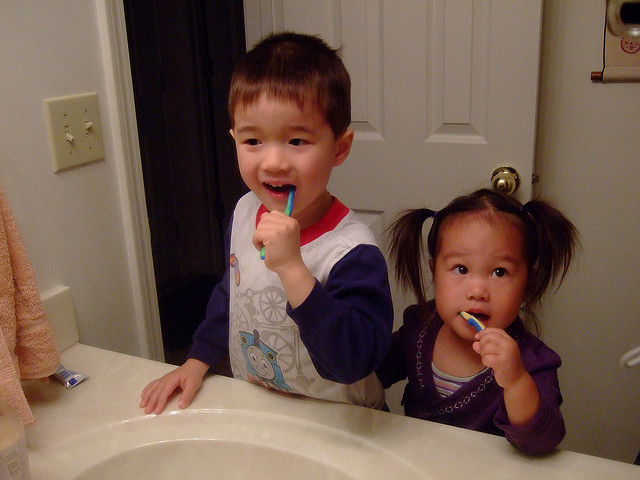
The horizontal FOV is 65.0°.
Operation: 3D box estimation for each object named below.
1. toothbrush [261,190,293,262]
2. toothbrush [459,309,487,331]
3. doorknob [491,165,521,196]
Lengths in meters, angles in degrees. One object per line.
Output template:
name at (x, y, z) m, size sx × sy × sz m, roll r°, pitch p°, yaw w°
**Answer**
toothbrush at (-0.064, -0.020, 0.762) m, size 0.013 × 0.015 × 0.131 m, roll 8°, pitch 58°, yaw 21°
toothbrush at (0.254, 0.131, 0.847) m, size 0.019 × 0.017 × 0.070 m, roll -46°, pitch 24°, yaw 5°
doorknob at (0.511, -0.165, 1.380) m, size 0.077 × 0.081 × 0.048 m, roll 3°, pitch 12°, yaw 23°
